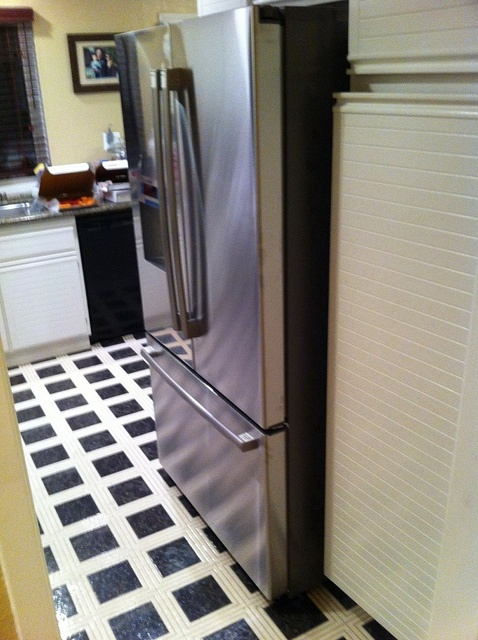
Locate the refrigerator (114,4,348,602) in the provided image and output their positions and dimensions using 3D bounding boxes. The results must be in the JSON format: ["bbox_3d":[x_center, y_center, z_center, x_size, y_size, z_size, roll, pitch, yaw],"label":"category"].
[{"bbox_3d":[-0.048,0.014,1.612,0.332,1.828,0.776,-21,26,-37],"label":"refrigerator"}]
